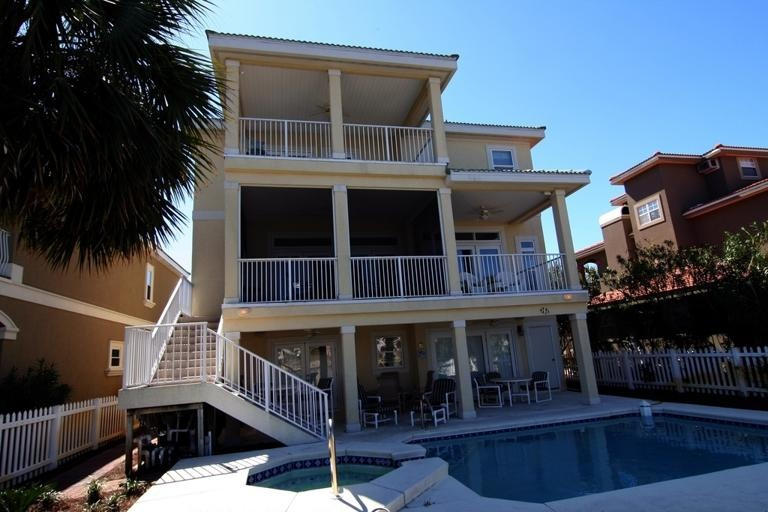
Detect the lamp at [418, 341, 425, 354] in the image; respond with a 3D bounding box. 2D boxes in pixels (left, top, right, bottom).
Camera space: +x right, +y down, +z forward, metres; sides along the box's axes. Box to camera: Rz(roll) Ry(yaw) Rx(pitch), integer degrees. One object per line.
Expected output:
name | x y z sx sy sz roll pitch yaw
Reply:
lamp | 1.424 3.499 18.869 0.262 0.456 0.065 5 -17 -28
